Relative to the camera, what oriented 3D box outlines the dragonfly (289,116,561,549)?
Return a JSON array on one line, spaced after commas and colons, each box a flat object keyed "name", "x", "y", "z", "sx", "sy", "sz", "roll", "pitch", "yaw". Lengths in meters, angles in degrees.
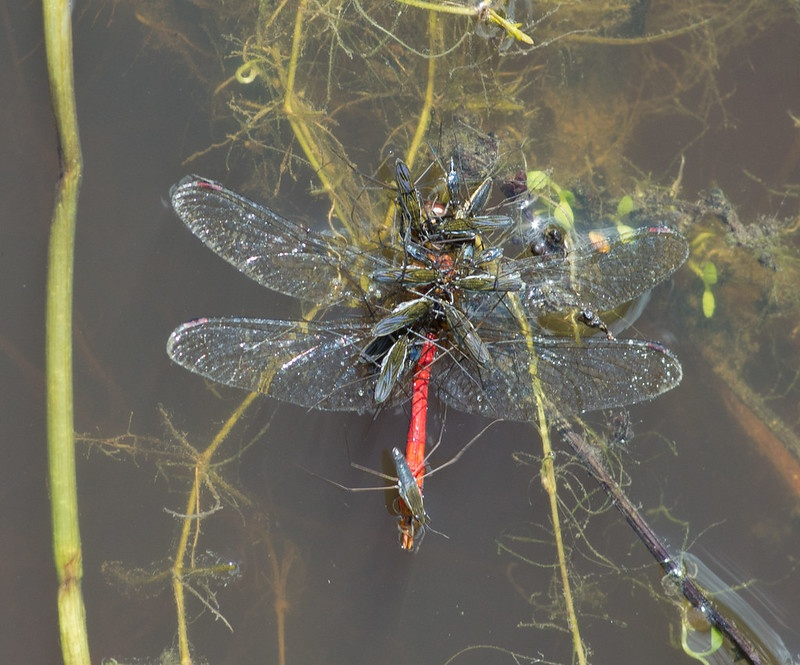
[{"name": "dragonfly", "x": 0.069, "y": 0.068, "z": 3.788, "sx": 0.699, "sy": 1.642, "sz": 0.349, "roll": 1, "pitch": -1, "yaw": -5}]
